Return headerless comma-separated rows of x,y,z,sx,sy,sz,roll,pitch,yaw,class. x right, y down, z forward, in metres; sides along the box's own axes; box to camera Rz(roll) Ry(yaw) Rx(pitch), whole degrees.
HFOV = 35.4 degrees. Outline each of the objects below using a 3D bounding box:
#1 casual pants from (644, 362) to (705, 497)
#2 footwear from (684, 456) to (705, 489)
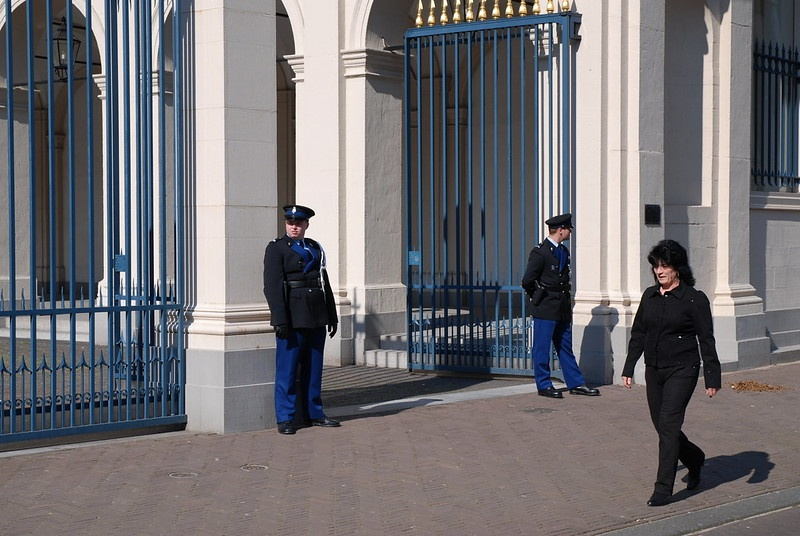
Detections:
2.483,1.441,11.490,0.607,1.162,0.410,-6,12,-33,casual pants
2.734,1.920,11.774,0.161,0.376,0.129,8,3,-42,footwear
